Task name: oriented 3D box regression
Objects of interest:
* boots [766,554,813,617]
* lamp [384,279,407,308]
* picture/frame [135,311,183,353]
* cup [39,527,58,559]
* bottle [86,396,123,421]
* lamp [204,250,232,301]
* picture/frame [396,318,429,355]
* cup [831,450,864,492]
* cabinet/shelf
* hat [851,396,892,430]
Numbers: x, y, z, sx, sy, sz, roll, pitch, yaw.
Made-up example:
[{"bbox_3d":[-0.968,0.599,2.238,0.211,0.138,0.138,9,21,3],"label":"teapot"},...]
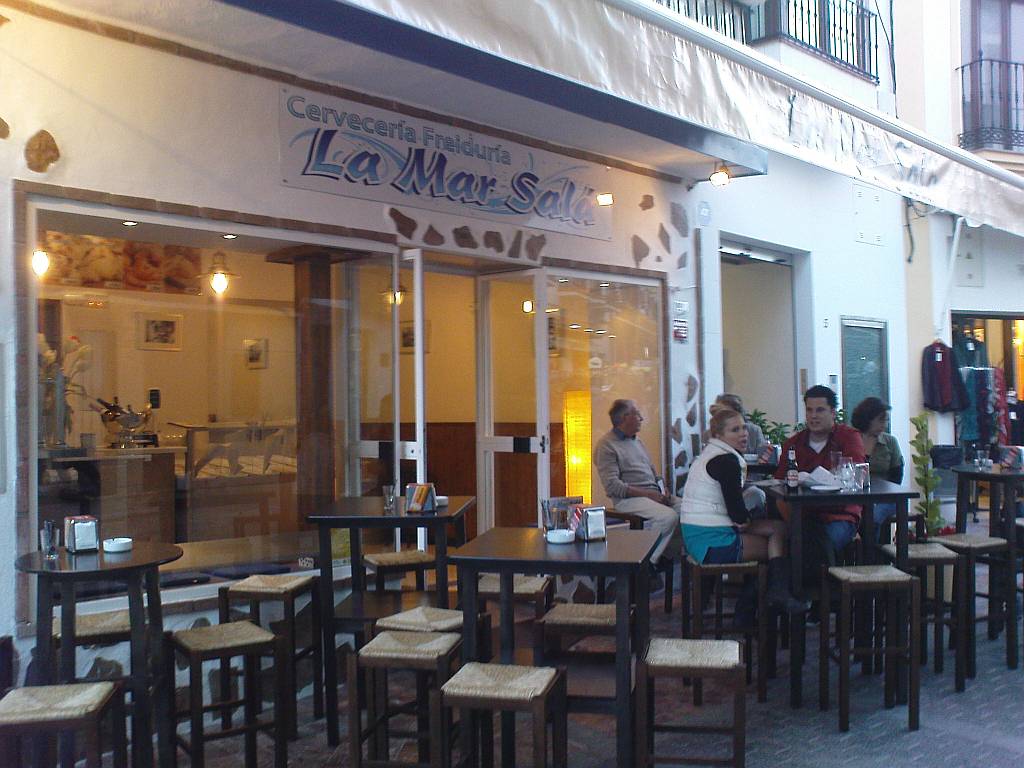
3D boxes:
[{"bbox_3d":[1.684,1.237,5.672,0.145,0.257,0.272,-6,12,-38],"label":"boots"},{"bbox_3d":[-0.797,-0.645,6.696,0.152,0.197,0.212,0,-1,14],"label":"lamp"},{"bbox_3d":[-2.286,-0.338,6.109,0.274,0.256,0.556,-3,6,-21],"label":"picture/frame"},{"bbox_3d":[-2.299,0.767,4.672,0.060,0.163,0.093,-5,7,-31],"label":"cup"},{"bbox_3d":[-2.451,0.141,5.632,0.158,0.177,0.316,1,1,4],"label":"bottle"},{"bbox_3d":[-1.869,-0.690,6.002,0.230,0.282,0.223,0,-1,-7],"label":"lamp"},{"bbox_3d":[-0.761,-0.347,6.799,0.221,0.207,0.056,-2,7,-32],"label":"picture/frame"},{"bbox_3d":[2.104,0.551,5.892,0.187,0.279,0.194,-3,1,0],"label":"cup"},{"bbox_3d":[-1.899,0.606,6.290,0.761,0.715,0.765,2,1,44],"label":"cabinet/shelf"},{"bbox_3d":[2.634,0.202,6.963,0.275,0.261,0.206,-8,10,6],"label":"hat"}]
